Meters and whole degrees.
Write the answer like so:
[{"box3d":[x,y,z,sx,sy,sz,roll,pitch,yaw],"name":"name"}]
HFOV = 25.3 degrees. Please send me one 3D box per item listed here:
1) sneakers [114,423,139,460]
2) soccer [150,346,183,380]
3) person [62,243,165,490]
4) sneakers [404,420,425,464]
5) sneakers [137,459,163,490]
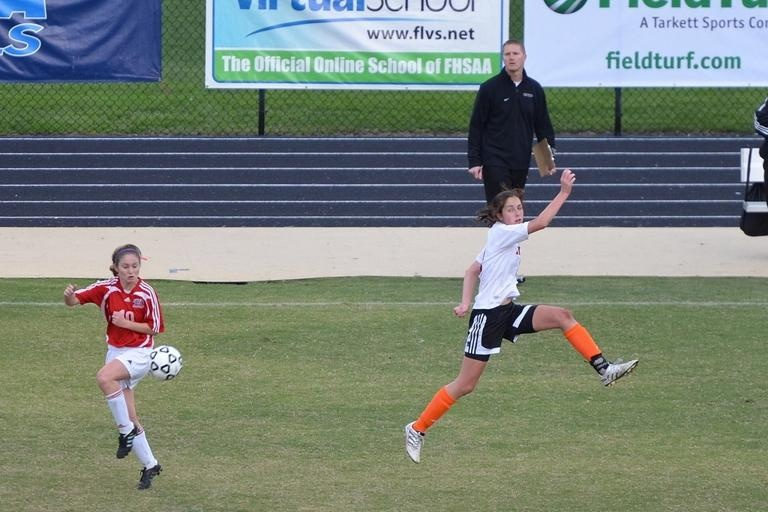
[{"box3d":[-2.552,1.815,16.927,0.222,0.416,0.155,11,19,-15],"name":"sneakers"},{"box3d":[-2.173,1.057,17.019,0.336,0.353,0.321,0,-8,-6],"name":"soccer"},{"box3d":[-2.613,1.077,16.966,0.833,2.355,0.614,-1,8,-3],"name":"person"},{"box3d":[0.283,1.853,17.231,0.155,0.425,0.202,-5,-8,-30],"name":"sneakers"},{"box3d":[-2.302,2.158,16.859,0.173,0.332,0.129,13,40,-19],"name":"sneakers"}]
